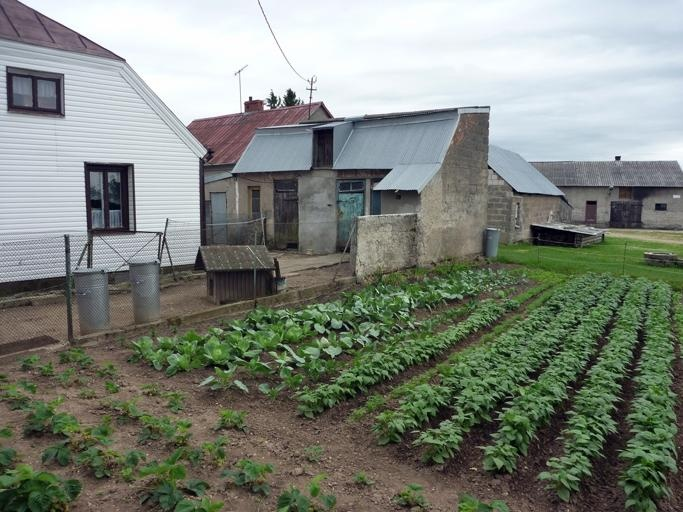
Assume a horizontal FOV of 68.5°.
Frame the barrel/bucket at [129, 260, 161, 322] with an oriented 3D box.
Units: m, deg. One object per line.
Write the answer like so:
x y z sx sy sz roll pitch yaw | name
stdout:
-3.907 0.727 9.985 0.514 1.221 0.374 -2 4 -25 | barrel/bucket

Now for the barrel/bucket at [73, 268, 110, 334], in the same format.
-4.559 0.838 9.153 0.541 1.195 0.286 -2 4 -29 | barrel/bucket
